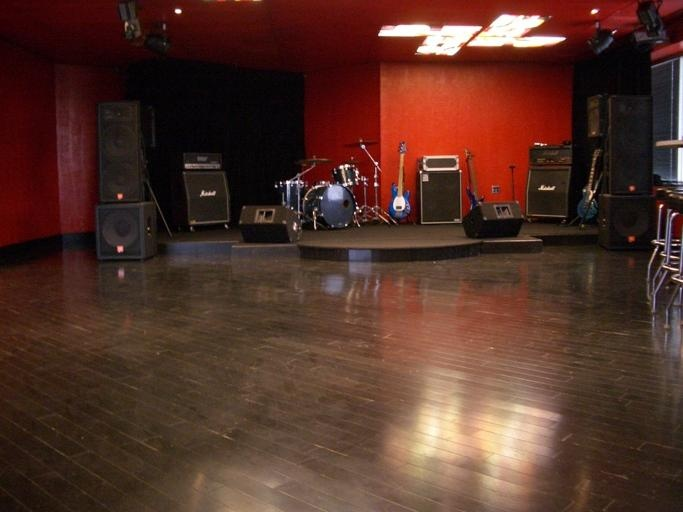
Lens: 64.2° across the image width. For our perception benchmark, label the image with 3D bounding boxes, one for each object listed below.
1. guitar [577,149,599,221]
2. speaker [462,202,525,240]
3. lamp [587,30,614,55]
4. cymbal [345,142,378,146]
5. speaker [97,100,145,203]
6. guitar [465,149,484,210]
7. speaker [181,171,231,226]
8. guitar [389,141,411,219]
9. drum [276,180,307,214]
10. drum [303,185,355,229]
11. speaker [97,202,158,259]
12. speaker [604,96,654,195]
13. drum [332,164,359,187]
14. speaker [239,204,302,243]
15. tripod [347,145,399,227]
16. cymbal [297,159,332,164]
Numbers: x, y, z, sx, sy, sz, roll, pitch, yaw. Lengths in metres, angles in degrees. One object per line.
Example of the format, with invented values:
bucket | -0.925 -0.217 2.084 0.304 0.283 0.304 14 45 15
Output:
guitar | 3.949 -1.086 8.703 0.302 1.201 1.342 3 11 24
speaker | 1.968 -0.487 7.126 0.548 0.459 0.521 -3 13 -21
lamp | 3.602 -2.989 7.551 0.266 0.337 0.411 5 11 30
cymbal | 0.359 -1.953 9.511 0.584 0.087 0.758 0 10 4
speaker | -2.802 -1.299 6.880 0.522 1.244 0.170 1 9 8
guitar | 2.429 -1.399 9.900 0.307 1.029 0.323 -7 11 -34
speaker | -2.261 -0.952 9.118 0.266 0.965 0.854 7 12 40
guitar | 1.022 -1.309 9.694 0.371 1.399 0.431 -1 9 1
drum | -0.832 -0.980 9.068 0.537 0.575 0.542 0 3 -18
drum | -0.193 -0.923 8.923 0.840 0.910 0.652 -7 12 -34
speaker | -2.713 -0.275 7.156 0.834 0.963 0.657 0 -2 5
speaker | 3.708 -1.402 6.959 0.572 1.233 0.187 -1 9 -2
drum | 0.101 -1.311 8.929 0.448 0.394 0.382 -5 10 -22
speaker | -0.908 -0.406 7.077 0.657 0.481 0.481 1 5 19
tripod | 0.703 -1.286 10.615 1.132 1.942 1.188 2 1 5
cymbal | -0.473 -1.583 9.096 0.517 0.091 0.765 -3 11 -10
